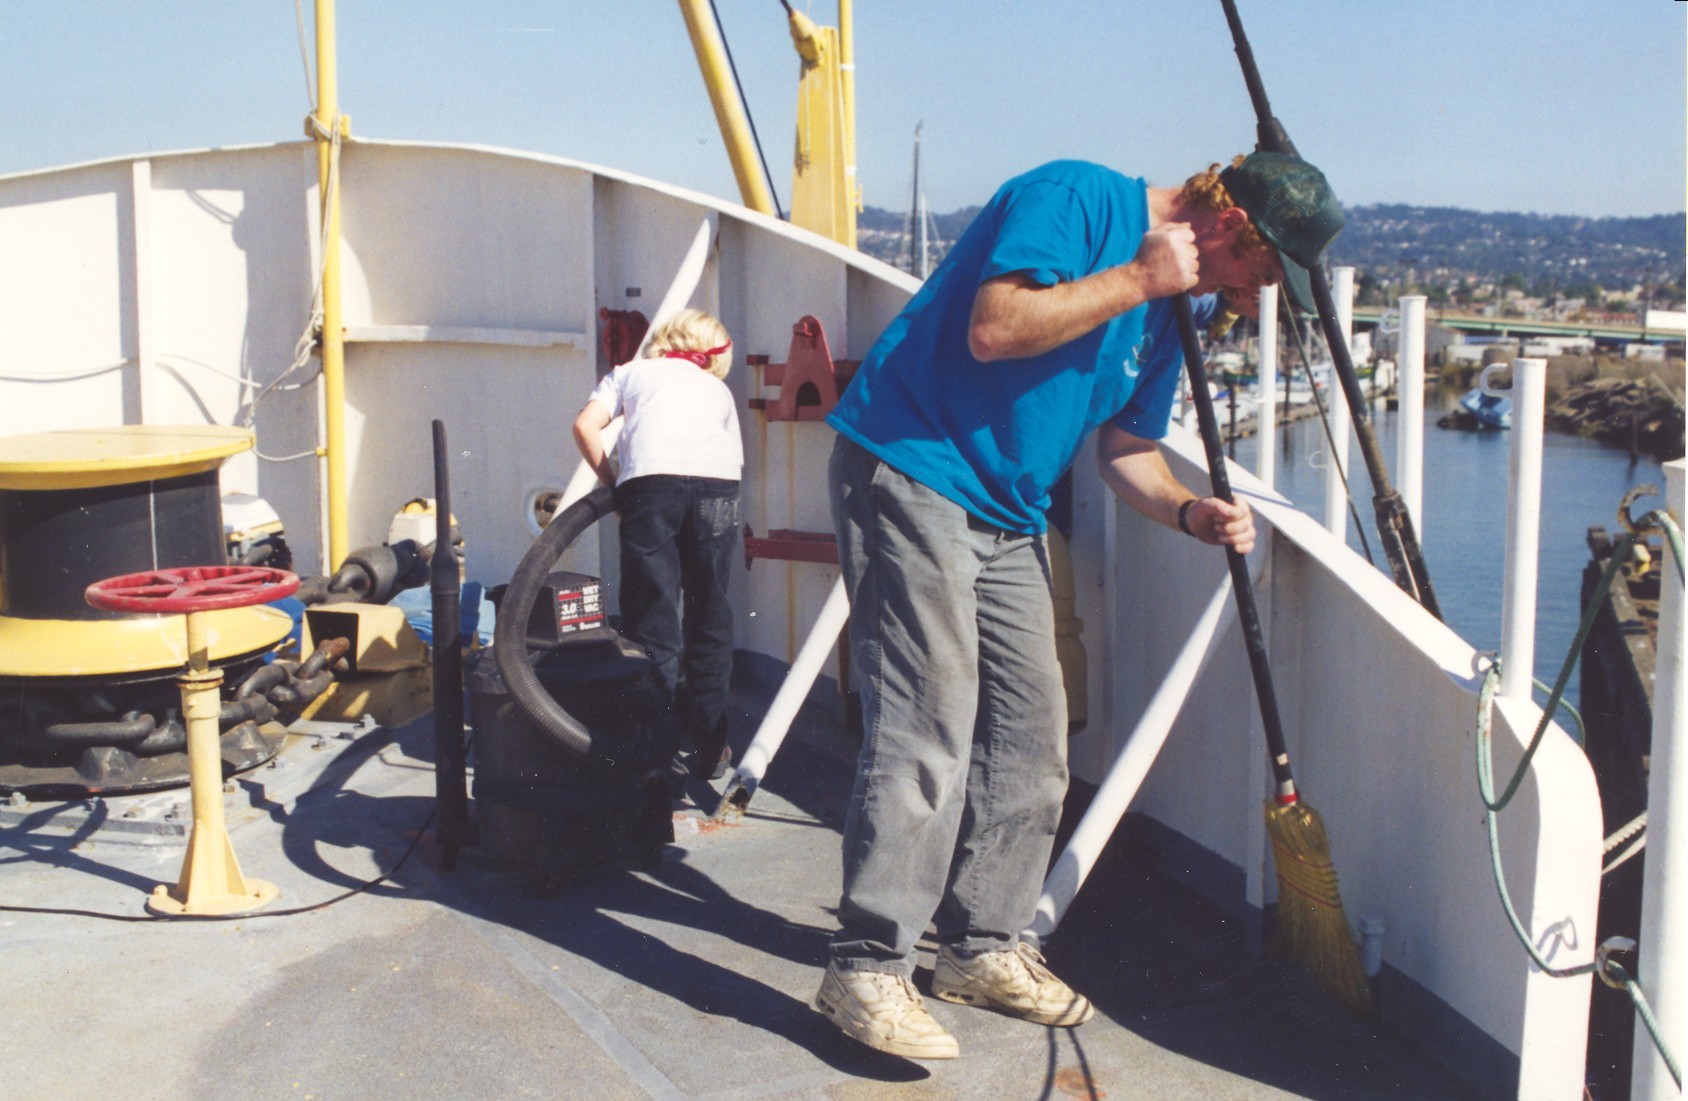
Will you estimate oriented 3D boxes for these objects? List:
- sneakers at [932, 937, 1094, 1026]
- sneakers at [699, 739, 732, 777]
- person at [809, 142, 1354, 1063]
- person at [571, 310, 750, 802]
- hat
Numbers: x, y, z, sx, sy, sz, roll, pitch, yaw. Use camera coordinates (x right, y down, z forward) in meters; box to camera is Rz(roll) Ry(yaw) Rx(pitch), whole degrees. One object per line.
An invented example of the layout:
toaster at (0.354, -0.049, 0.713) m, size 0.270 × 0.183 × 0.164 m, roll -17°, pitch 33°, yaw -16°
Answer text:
sneakers at (0.527, 1.358, 4.911) m, size 0.552 × 0.265 × 0.207 m, roll 8°, pitch 3°, yaw 5°
sneakers at (-0.540, 0.877, 6.352) m, size 0.120 × 0.124 × 0.139 m, roll 0°, pitch -9°, yaw 10°
person at (0.670, 0.130, 4.708) m, size 1.546 × 2.781 × 1.161 m, roll 6°, pitch 1°, yaw 24°
person at (-0.776, -0.027, 6.325) m, size 0.633 × 1.950 × 0.655 m, roll 1°, pitch 7°, yaw 1°
hat at (1.325, -0.951, 4.522) m, size 0.364 × 0.472 × 0.199 m, roll -2°, pitch 8°, yaw -21°
